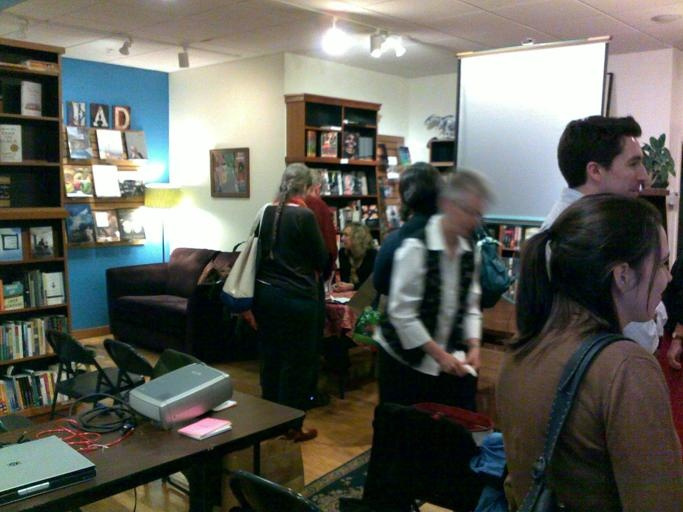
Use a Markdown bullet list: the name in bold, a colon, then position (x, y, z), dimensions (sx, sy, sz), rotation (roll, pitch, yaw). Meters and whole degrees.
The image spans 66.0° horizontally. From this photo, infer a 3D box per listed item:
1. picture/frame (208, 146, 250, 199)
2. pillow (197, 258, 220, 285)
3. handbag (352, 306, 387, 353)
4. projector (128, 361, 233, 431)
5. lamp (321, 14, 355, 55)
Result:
- **picture/frame**: position (-1.431, -1.083, 6.786), dimensions (0.768, 0.736, 0.056), rotation (0, 0, 36)
- **pillow**: position (-1.460, 0.203, 5.711), dimensions (0.111, 0.291, 0.216), rotation (29, -1, -5)
- **handbag**: position (0.173, 0.455, 3.522), dimensions (0.247, 0.381, 0.139), rotation (29, 53, 14)
- **projector**: position (-0.665, 0.556, 2.212), dimensions (0.233, 0.107, 0.315), rotation (14, 20, 42)
- **lamp**: position (-0.056, -2.358, 5.722), dimensions (0.239, 0.303, 0.230), rotation (0, -2, 1)
